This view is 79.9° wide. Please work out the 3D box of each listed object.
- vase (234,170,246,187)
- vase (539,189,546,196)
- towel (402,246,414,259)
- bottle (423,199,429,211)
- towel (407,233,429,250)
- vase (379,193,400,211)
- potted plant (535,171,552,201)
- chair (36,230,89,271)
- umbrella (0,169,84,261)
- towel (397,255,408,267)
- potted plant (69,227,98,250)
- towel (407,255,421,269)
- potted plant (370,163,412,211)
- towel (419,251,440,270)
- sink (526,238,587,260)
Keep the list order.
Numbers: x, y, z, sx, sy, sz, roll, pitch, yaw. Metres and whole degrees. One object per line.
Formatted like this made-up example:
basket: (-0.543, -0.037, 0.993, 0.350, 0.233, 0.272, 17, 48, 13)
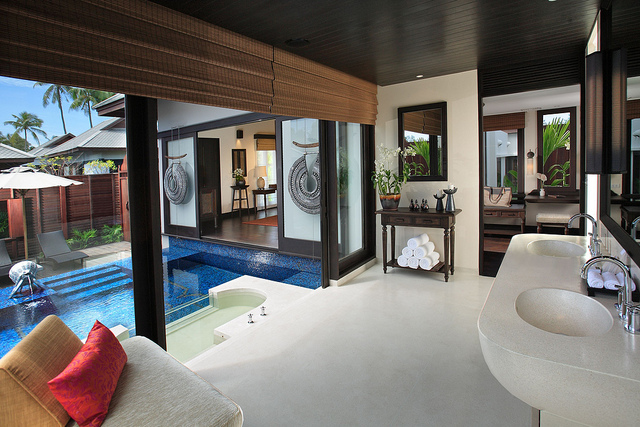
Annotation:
vase: (-2.103, -0.916, 10.092, 0.238, 0.454, 0.276, -8, 10, -24)
vase: (4.425, -0.402, 7.666, 0.101, 0.169, 0.107, 4, 9, 24)
towel: (1.157, 0.539, 5.126, 0.125, 0.124, 0.037, -2, 2, 30)
bottle: (1.430, -0.095, 5.269, 0.112, 0.174, 0.109, 1, 2, 0)
towel: (1.299, 0.382, 5.171, 0.122, 0.129, 0.423, -5, -1, 30)
vase: (0.962, -0.155, 5.299, 0.230, 0.167, 0.228, 0, -1, -23)
potted plant: (4.476, -0.594, 7.715, 0.305, 0.473, 0.617, 2, 11, 30)
chair: (-1.880, 0.273, 2.796, 0.347, 0.204, 0.223, 15, 18, 38)
umbrella: (-1.982, -0.015, 2.866, 0.536, 0.537, 0.521, 0, -1, 7)
towel: (1.106, 0.649, 5.169, 0.122, 0.132, 0.034, -3, 2, 33)
potted plant: (-1.837, 0.203, 2.952, 0.143, 0.087, 0.141, -2, 3, -27)
towel: (1.234, 0.651, 5.017, 0.143, 0.143, 0.146, -1, 2, 17)
potted plant: (0.930, -0.362, 5.413, 0.608, 0.642, 0.492, 0, 0, 38)
towel: (1.451, 0.666, 5.105, 0.180, 0.180, 0.426, -25, -1, 37)
sink: (2.052, 0.320, 3.360, 0.441, 0.130, 0.336, 1, 10, 28)
